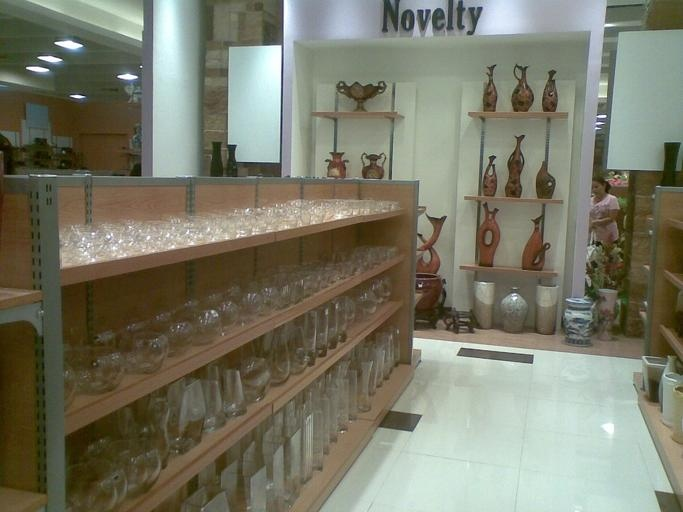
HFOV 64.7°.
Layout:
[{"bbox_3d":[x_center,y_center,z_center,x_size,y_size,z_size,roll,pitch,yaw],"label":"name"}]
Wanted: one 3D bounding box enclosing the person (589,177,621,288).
[{"bbox_3d":[3.001,-0.313,6.164,0.312,1.204,0.954,4,9,26],"label":"person"}]
